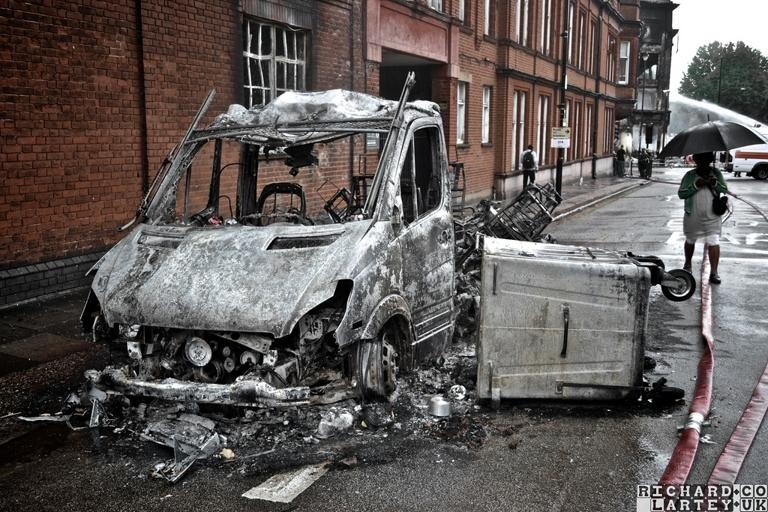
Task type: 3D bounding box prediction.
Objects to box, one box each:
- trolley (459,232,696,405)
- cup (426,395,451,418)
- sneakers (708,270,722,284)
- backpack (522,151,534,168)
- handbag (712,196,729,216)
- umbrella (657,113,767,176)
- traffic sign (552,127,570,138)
[{"bbox_3d":[2.088,0.713,6.616,2.037,1.550,1.510,1,3,3],"label":"trolley"},{"bbox_3d":[0.578,1.532,5.988,0.177,0.113,0.183,-1,11,0],"label":"cup"},{"bbox_3d":[6.208,0.387,10.890,0.128,0.118,0.284,5,21,11],"label":"sneakers"},{"bbox_3d":[6.412,-4.284,25.788,0.593,0.947,0.474,2,14,6],"label":"backpack"},{"bbox_3d":[6.101,-0.927,10.553,0.254,0.410,0.203,9,7,21],"label":"handbag"},{"bbox_3d":[5.912,-2.112,10.345,1.390,0.753,1.484,-13,15,11],"label":"umbrella"},{"bbox_3d":[7.020,-4.928,23.060,0.620,0.374,0.501,2,14,6],"label":"traffic sign"}]
